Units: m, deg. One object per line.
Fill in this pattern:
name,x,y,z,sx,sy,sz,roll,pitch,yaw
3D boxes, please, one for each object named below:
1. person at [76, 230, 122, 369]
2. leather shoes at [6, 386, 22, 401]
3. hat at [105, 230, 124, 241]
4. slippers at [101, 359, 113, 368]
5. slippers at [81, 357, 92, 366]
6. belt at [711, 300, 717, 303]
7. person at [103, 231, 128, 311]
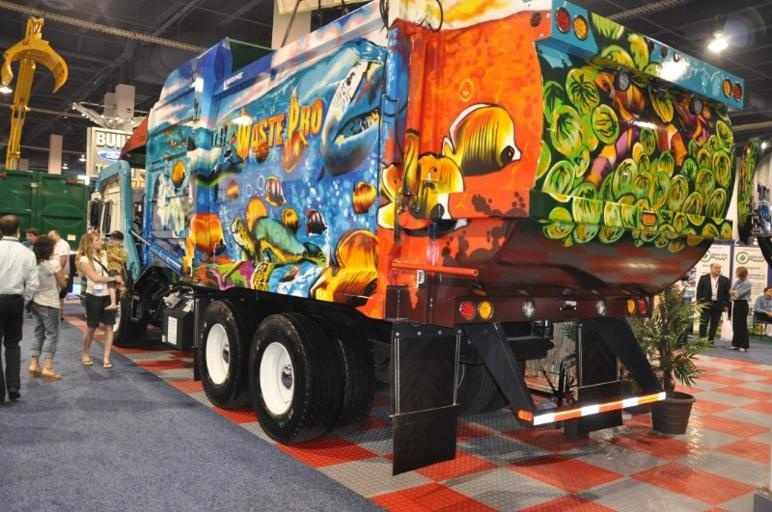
person,-4.793,0.686,8.815,0.660,2.234,0.631,-1,-5,-44
leather shoes,-5.023,1.847,7.150,0.105,0.256,0.162,3,2,-12
hat,-5.044,-0.360,9.845,0.292,0.161,0.211,29,30,18
slippers,-4.678,1.786,8.836,0.126,0.102,0.339,1,-4,-29
slippers,-5.080,1.774,8.979,0.092,0.135,0.301,4,-11,-33
belt,9.295,1.275,14.990,0.138,0.037,0.141,-1,11,12
person,-5.016,0.232,9.810,0.413,1.406,0.363,4,0,-19
